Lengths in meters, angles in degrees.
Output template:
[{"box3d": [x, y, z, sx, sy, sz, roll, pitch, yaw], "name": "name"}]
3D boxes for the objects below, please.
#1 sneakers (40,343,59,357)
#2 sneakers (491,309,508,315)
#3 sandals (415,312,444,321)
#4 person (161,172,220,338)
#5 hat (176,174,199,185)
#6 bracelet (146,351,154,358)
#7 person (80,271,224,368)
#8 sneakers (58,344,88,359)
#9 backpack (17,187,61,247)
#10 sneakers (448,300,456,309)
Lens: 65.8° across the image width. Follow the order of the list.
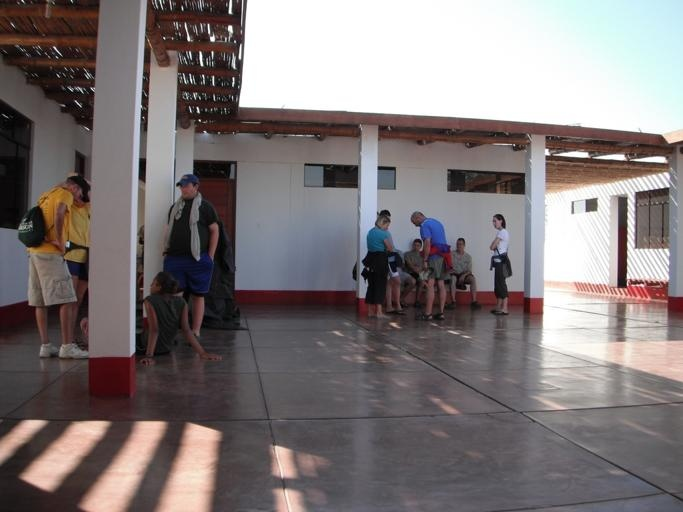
[{"box3d": [-3.155, 1.024, 5.792, 0.102, 0.128, 0.255, 1, 4, 8], "name": "sneakers"}, {"box3d": [3.042, 1.102, 10.254, 0.374, 0.136, 0.127, 2, -5, -4], "name": "sneakers"}, {"box3d": [1.578, 1.082, 9.313, 0.498, 0.220, 0.186, 3, -9, -9], "name": "sandals"}, {"box3d": [-1.867, 0.004, 6.578, 0.709, 2.038, 0.586, 1, -4, -7], "name": "person"}, {"box3d": [-1.903, -0.933, 6.599, 0.197, 0.199, 0.506, 0, 3, -20], "name": "hat"}, {"box3d": [-2.057, 1.061, 5.697, 0.061, 0.074, 0.186, 3, -5, -21], "name": "bracelet"}, {"box3d": [-2.131, 0.594, 6.044, 1.525, 0.906, 0.836, 8, 3, 42], "name": "person"}, {"box3d": [-2.857, 1.024, 5.714, 0.371, 0.176, 0.148, 2, 2, -6], "name": "sneakers"}, {"box3d": [-3.231, -0.310, 5.546, 0.340, 0.459, 0.216, -10, -11, 30], "name": "backpack"}, {"box3d": [2.358, 1.063, 11.406, 0.216, 0.214, 0.120, 0, -5, 33], "name": "sneakers"}]
